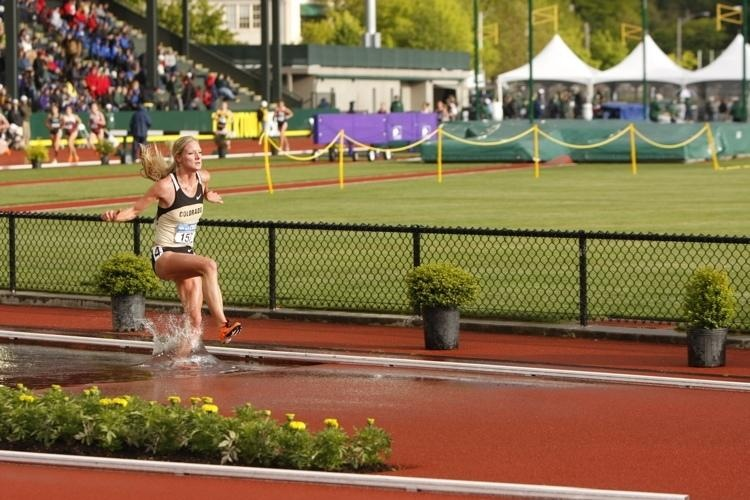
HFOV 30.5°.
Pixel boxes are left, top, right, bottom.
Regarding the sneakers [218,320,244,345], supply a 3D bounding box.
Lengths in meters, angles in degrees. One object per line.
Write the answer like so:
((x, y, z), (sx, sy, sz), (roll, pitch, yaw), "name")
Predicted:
((-1.740, 0.993, 16.588), (0.231, 0.240, 0.199), (-3, 6, -8), "sneakers")

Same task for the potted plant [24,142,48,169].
((-10.762, -2.990, 43.878), (0.608, 0.733, 1.036), (-4, 7, -14), "potted plant")

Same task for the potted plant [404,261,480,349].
((0.906, 0.731, 18.167), (0.959, 1.119, 1.125), (3, -9, -16), "potted plant")

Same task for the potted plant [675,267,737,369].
((4.159, 0.854, 17.088), (0.594, 1.216, 0.401), (-1, 7, 7), "potted plant")

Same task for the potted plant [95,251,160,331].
((-3.602, 0.597, 19.264), (1.060, 1.102, 1.040), (6, 10, 42), "potted plant")

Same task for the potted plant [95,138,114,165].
((-9.093, -3.334, 46.508), (0.877, 1.016, 0.756), (1, -1, -6), "potted plant")
